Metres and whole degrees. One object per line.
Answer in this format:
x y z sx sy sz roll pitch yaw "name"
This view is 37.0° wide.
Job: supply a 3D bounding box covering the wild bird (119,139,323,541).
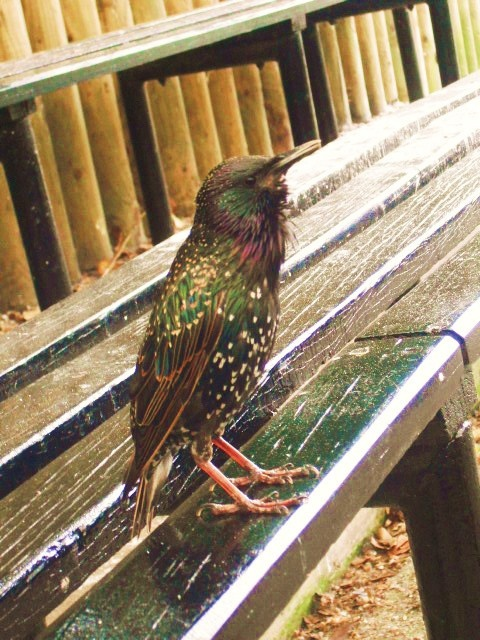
-0.014 0.023 0.888 0.328 0.397 0.207 -15 16 -1 "wild bird"
